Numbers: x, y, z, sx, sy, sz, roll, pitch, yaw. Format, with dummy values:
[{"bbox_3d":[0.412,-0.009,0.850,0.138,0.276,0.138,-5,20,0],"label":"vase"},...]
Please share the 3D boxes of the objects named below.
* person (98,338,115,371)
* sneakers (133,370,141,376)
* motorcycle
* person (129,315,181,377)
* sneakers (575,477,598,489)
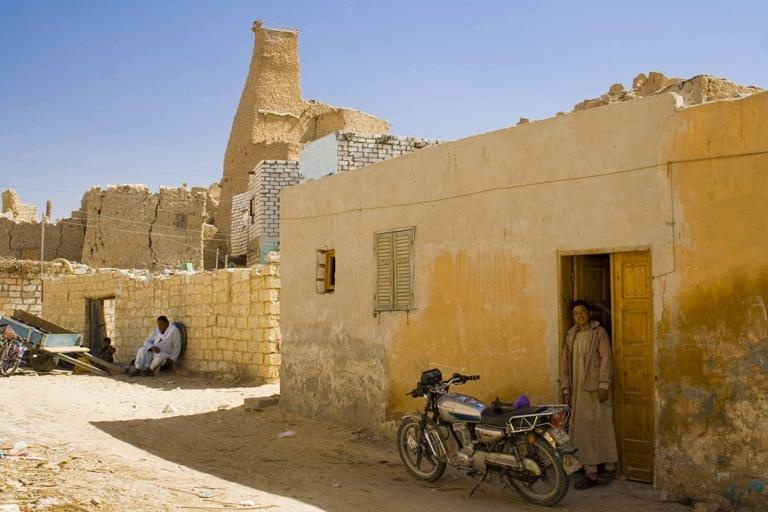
[{"bbox_3d":[-6.378,2.311,21.092,0.356,0.776,0.437,-5,-43,-13],"label":"person"},{"bbox_3d":[-5.283,2.506,19.665,0.174,0.126,0.081,2,3,-15],"label":"sneakers"},{"bbox_3d":[1.536,2.342,11.989,2.418,1.431,1.131,2,2,44],"label":"motorcycle"},{"bbox_3d":[-4.897,1.958,19.911,0.852,1.398,0.755,14,-11,-38],"label":"person"},{"bbox_3d":[2.596,2.909,11.692,0.279,0.102,0.133,-1,3,-12],"label":"sneakers"}]
